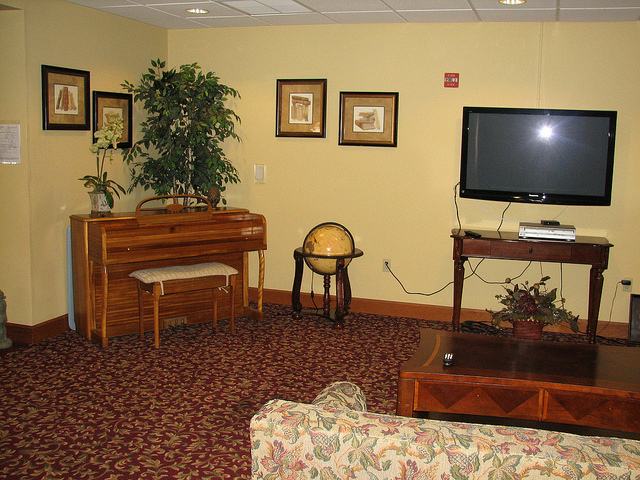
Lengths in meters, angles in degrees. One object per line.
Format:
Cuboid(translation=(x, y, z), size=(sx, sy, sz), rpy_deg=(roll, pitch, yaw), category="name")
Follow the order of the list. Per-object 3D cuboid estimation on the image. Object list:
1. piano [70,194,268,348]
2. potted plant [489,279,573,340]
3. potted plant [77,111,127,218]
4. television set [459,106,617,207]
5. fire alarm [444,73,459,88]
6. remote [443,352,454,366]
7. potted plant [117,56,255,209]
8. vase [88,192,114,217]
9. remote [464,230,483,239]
Cuboid(translation=(-1.539, 0.282, 5.367), size=(1.867, 1.308, 0.731), rpy_deg=(-5, 9, -45), category="piano")
Cuboid(translation=(2.106, 0.681, 5.054), size=(0.653, 0.446, 0.655), rpy_deg=(-4, 11, -5), category="potted plant")
Cuboid(translation=(-2.259, -0.796, 5.231), size=(0.459, 1.102, 1.095), rpy_deg=(-3, 12, -22), category="potted plant")
Cuboid(translation=(2.231, -0.866, 5.248), size=(1.595, 1.026, 0.178), rpy_deg=(7, 9, 9), category="television set")
Cuboid(translation=(1.449, -1.759, 5.548), size=(0.157, 0.152, 0.146), rpy_deg=(1, -2, 6), category="fire alarm")
Cuboid(translation=(0.807, 0.749, 3.168), size=(0.050, 0.031, 0.093), rpy_deg=(1, 25, 17), category="remote")
Cuboid(translation=(-1.559, -1.259, 5.763), size=(1.716, 2.216, 1.138), rpy_deg=(-3, 9, -20), category="potted plant")
Cuboid(translation=(-2.174, -0.363, 5.023), size=(0.220, 0.255, 0.251), rpy_deg=(-2, 8, -21), category="vase")
Cuboid(translation=(1.595, -0.061, 5.233), size=(0.170, 0.040, 0.303), rpy_deg=(5, 12, 16), category="remote")
